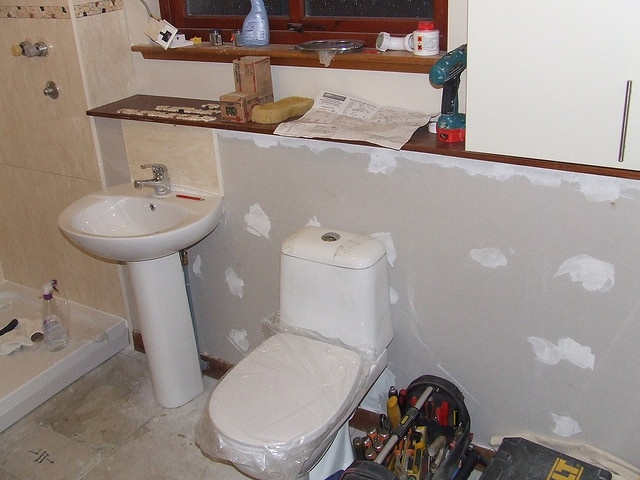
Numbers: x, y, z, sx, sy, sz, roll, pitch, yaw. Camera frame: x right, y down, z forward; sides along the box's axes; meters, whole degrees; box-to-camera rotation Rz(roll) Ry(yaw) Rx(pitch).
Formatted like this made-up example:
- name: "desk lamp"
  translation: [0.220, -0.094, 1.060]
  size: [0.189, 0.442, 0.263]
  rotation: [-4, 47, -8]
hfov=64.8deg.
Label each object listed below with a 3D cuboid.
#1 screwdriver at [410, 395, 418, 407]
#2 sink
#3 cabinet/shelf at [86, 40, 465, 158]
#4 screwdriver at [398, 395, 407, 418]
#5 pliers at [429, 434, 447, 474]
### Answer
- name: "screwdriver"
  translation: [0.327, 0.565, 1.755]
  size: [0.028, 0.029, 0.018]
  rotation: [0, 2, -39]
- name: "sink"
  translation: [-0.725, -0.046, 2.000]
  size: [0.577, 0.182, 0.459]
  rotation: [12, 33, 19]
- name: "cabinet/shelf"
  translation: [-0.199, -0.597, 1.927]
  size: [1.609, 0.370, 0.372]
  rotation: [13, 33, 21]
- name: "screwdriver"
  translation: [0.284, 0.576, 1.740]
  size: [0.023, 0.107, 0.025]
  rotation: [3, 33, 8]
- name: "pliers"
  translation: [0.384, 0.690, 1.635]
  size: [0.036, 0.076, 0.130]
  rotation: [5, 27, 24]
